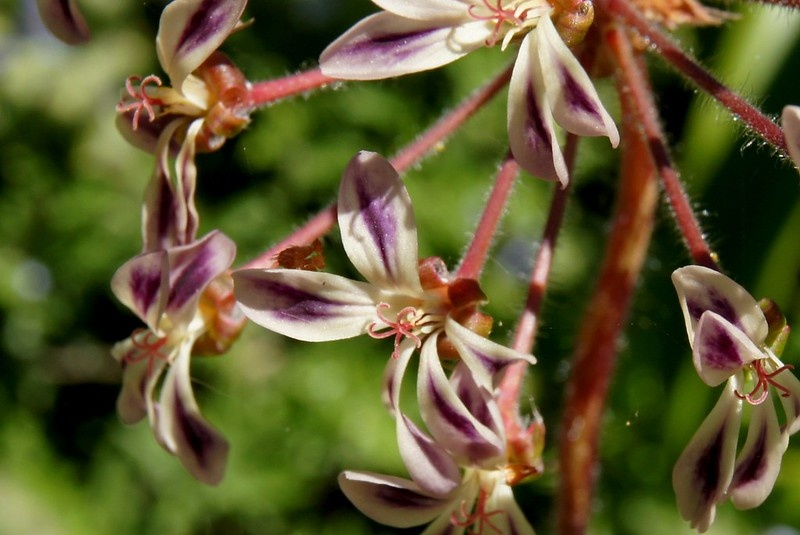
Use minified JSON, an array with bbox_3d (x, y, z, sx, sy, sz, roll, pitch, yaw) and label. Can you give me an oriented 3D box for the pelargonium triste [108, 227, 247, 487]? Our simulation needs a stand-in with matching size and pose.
[{"bbox_3d":[-0.653,0.215,3.196,0.339,0.668,0.615,-7,10,-31],"label":"pelargonium triste"}]
